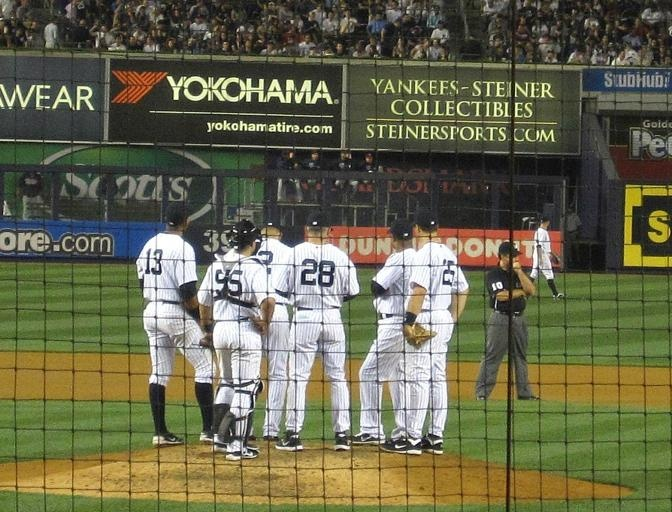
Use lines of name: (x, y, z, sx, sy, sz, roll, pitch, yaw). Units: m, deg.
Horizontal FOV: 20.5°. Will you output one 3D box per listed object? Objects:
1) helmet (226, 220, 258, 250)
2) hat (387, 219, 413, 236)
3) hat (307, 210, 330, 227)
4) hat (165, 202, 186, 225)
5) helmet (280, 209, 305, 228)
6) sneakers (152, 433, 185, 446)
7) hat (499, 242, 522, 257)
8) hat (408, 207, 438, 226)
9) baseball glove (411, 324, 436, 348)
helmet: (-1.621, -0.367, 32.390, 0.392, 0.407, 0.543, -5, 1, -10)
hat: (1.131, -0.486, 32.764, 0.313, 0.290, 0.308, 0, -1, -11)
hat: (-0.317, -0.673, 32.695, 0.300, 0.196, 0.308, 1, 6, 5)
hat: (-2.825, -0.750, 32.655, 0.317, 0.391, 0.396, 2, 17, -1)
helmet: (-0.990, -0.840, 41.144, 0.614, 0.444, 0.334, 0, 7, -1)
sneakers: (-2.949, 3.190, 32.512, 0.565, 0.238, 0.206, -1, 4, -12)
hat: (3.079, -0.157, 33.595, 0.402, 0.235, 0.295, -2, 13, -8)
hat: (1.584, -0.619, 32.997, 0.445, 0.326, 0.623, 1, 12, -7)
baseball glove: (1.513, 1.405, 32.621, 0.389, 0.156, 0.388, -3, 35, -19)
